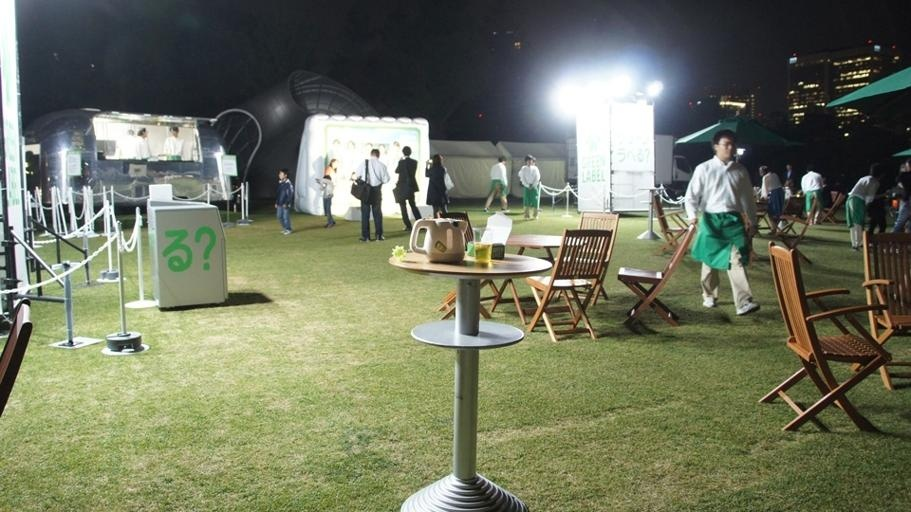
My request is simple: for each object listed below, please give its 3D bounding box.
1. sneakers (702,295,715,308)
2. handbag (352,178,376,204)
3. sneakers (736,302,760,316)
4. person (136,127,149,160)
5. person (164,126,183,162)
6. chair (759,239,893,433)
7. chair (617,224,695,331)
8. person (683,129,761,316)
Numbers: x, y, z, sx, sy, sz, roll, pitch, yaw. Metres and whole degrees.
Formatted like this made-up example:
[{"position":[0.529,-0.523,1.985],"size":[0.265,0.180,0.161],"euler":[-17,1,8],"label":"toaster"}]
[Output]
[{"position":[3.901,0.710,8.460],"size":[0.111,0.133,0.191],"euler":[-2,-12,13],"label":"sneakers"},{"position":[-2.338,-1.679,14.065],"size":[0.693,0.503,0.394],"euler":[37,34,20],"label":"handbag"},{"position":[4.201,0.755,7.991],"size":[0.362,0.175,0.151],"euler":[-14,3,24],"label":"sneakers"},{"position":[-11.111,-3.932,19.395],"size":[0.377,1.064,0.833],"euler":[-5,7,-30],"label":"person"},{"position":[-10.421,-4.156,20.266],"size":[0.566,1.204,1.043],"euler":[-5,7,-29],"label":"person"},{"position":[3.687,0.812,5.554],"size":[1.027,1.716,1.014],"euler":[-2,4,9],"label":"chair"},{"position":[2.854,0.282,7.885],"size":[1.127,1.334,0.991],"euler":[2,5,35],"label":"chair"},{"position":[3.994,-0.534,8.234],"size":[1.046,2.688,0.924],"euler":[-1,6,1],"label":"person"}]
